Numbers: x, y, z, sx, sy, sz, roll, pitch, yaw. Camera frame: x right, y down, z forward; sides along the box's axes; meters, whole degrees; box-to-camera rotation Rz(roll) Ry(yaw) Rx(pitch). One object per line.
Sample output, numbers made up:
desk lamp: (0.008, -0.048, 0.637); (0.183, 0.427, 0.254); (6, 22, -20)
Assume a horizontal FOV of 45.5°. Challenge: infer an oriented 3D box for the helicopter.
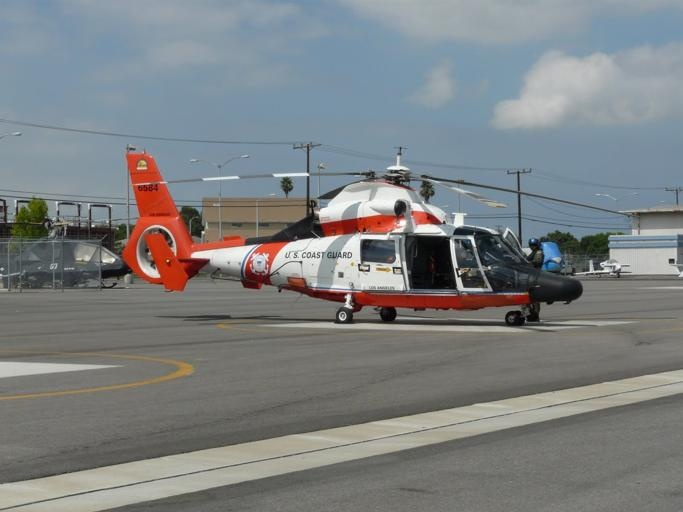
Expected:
helicopter: (-0.458, -0.637, 24.616); (14.283, 5.085, 2.665); (2, 6, 30)
